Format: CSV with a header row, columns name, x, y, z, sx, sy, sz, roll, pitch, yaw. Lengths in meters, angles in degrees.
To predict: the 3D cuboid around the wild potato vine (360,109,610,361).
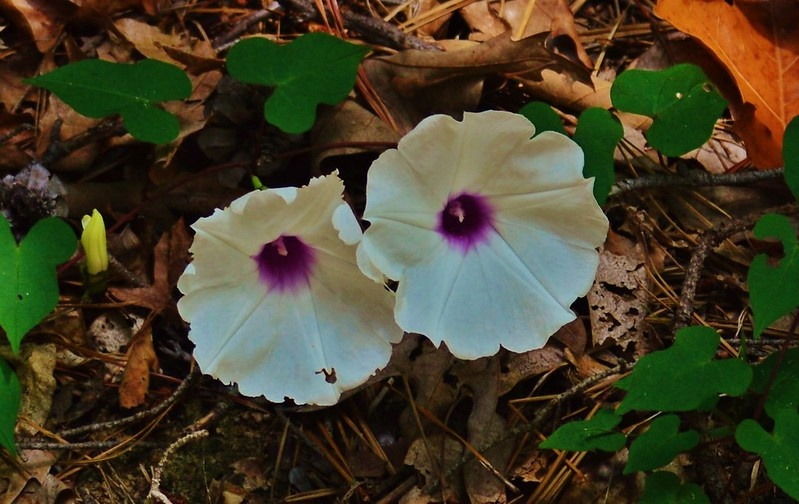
name,x,y,z,sx,sy,sz,roll,pitch,yaw
wild potato vine,0.376,-0.119,4.005,1.209,0.500,1.286,21,-56,5
